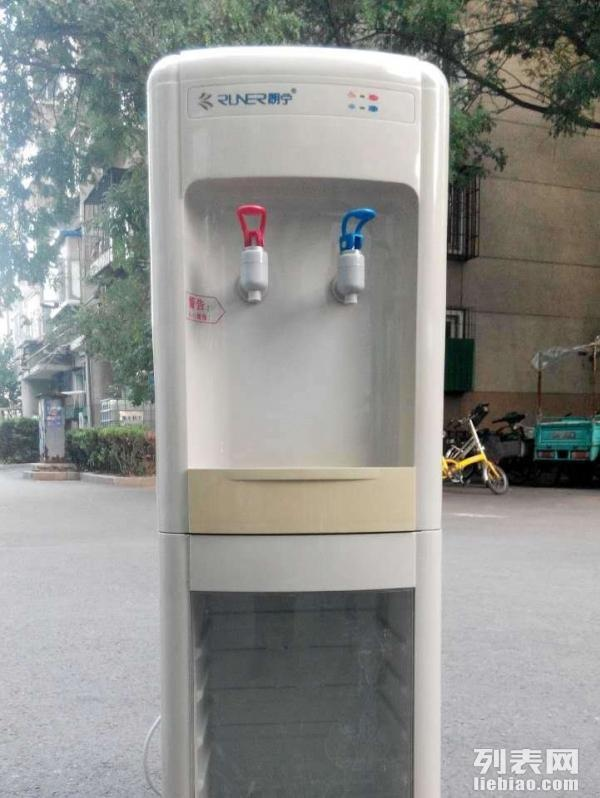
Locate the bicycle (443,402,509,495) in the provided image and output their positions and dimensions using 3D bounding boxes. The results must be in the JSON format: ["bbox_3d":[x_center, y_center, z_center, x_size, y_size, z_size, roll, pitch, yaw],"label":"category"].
[{"bbox_3d":[2.340,0.664,15.383,0.604,1.278,1.508,-3,-5,-18],"label":"bicycle"}]

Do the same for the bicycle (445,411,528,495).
[{"bbox_3d":[2.110,0.690,14.088,0.527,1.017,1.157,1,-3,-26],"label":"bicycle"}]
